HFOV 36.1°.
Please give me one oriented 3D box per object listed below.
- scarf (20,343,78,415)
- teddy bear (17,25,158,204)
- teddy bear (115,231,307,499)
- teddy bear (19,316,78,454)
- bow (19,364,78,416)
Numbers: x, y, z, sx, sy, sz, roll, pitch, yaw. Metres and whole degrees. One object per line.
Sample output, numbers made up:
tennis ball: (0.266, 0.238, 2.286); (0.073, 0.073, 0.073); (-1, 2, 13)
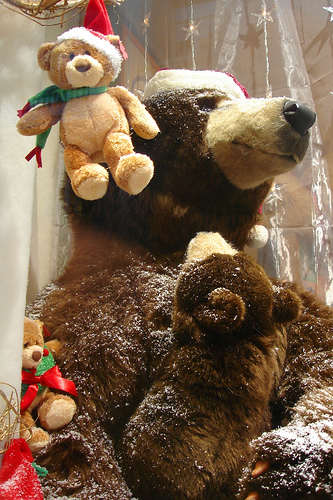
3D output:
scarf: (-0.204, 0.208, 0.841); (0.114, 0.109, 0.083); (3, -14, -44)
teddy bear: (-0.140, -0.235, 0.869); (0.238, 0.269, 0.168); (-12, 26, -4)
teddy bear: (0.084, 0.191, 0.914); (0.243, 0.425, 0.209); (30, -20, -18)
teddy bear: (-0.222, 0.209, 0.833); (0.145, 0.188, 0.155); (3, 20, -11)
bow: (-0.203, 0.228, 0.826); (0.095, 0.023, 0.093); (-16, 10, -10)
